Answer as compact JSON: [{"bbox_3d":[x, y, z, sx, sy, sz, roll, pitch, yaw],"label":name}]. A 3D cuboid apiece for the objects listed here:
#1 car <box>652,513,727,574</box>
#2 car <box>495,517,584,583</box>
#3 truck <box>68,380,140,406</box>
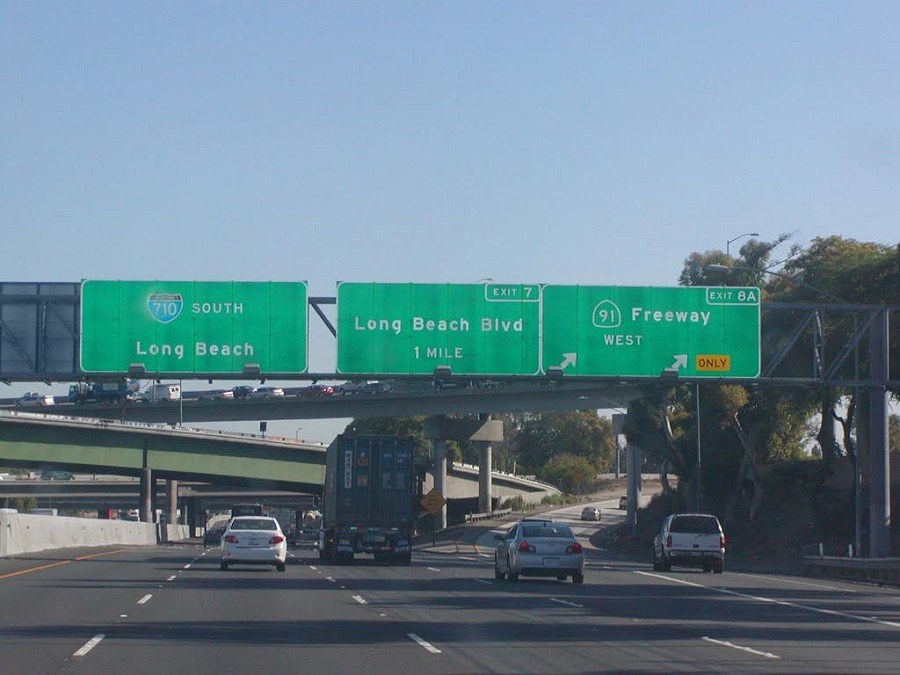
[{"bbox_3d":[10.829,9.286,92.791,2.771,2.833,4.679,2,-6,1],"label":"car"},{"bbox_3d":[3.566,8.811,85.648,1.836,1.459,3.631,1,0,-4],"label":"car"},{"bbox_3d":[-21.896,3.712,133.029,3.258,1.205,2.445,0,-2,-2],"label":"truck"}]
